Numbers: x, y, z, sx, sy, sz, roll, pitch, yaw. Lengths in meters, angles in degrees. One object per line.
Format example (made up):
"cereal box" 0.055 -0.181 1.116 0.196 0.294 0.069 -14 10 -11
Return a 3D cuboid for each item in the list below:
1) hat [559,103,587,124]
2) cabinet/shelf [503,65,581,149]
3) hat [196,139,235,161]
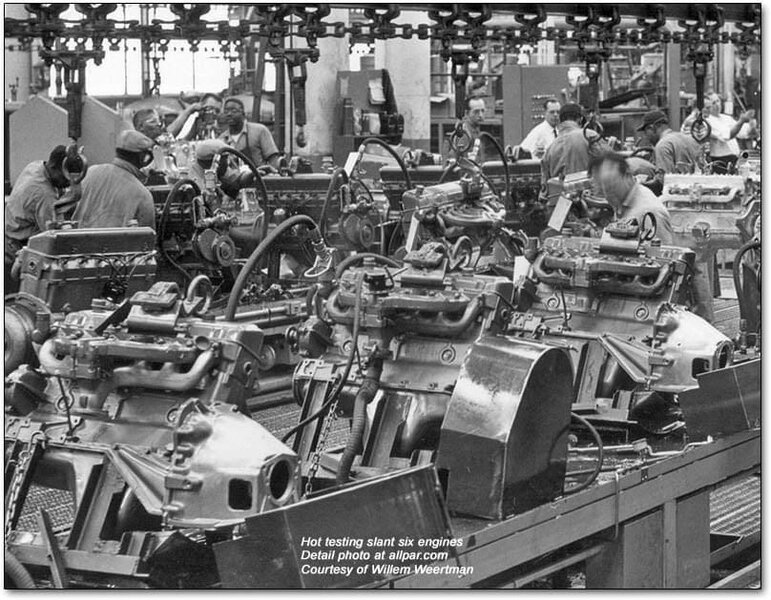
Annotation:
"hat" 2.067 -2.093 13.619 0.161 0.217 0.253 3 8 13
"cabinet/shelf" 2.686 -3.153 20.460 0.869 1.647 0.988 12 -1 30
"hat" -1.532 -1.331 10.951 0.307 0.133 0.239 -12 16 15
